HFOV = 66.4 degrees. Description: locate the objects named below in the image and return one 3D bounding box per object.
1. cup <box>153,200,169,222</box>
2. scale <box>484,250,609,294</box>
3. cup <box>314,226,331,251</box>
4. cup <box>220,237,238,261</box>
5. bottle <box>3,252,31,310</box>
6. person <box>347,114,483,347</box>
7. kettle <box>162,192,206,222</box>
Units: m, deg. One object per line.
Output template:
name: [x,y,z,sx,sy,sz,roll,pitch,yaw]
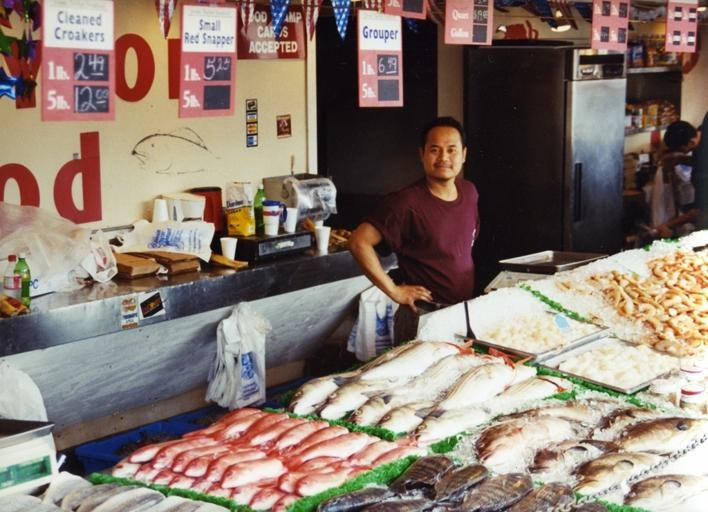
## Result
cup: [-1.504,-0.347,4.193,0.121,0.169,0.320,-4,14,-19]
scale: [1.280,0.066,3.667,0.714,0.146,0.400,-18,21,-38]
cup: [-0.247,-0.137,4.428,0.116,0.189,0.139,-4,14,-18]
cup: [-0.928,-0.046,4.037,0.130,0.164,0.225,-2,14,-13]
bottle: [-1.933,0.146,3.099,0.144,0.293,0.327,-7,16,-30]
person: [0.444,-0.211,3.349,0.952,1.256,0.572,-11,18,-41]
kettle: [-1.343,-0.392,4.302,0.367,0.189,0.281,12,17,39]
